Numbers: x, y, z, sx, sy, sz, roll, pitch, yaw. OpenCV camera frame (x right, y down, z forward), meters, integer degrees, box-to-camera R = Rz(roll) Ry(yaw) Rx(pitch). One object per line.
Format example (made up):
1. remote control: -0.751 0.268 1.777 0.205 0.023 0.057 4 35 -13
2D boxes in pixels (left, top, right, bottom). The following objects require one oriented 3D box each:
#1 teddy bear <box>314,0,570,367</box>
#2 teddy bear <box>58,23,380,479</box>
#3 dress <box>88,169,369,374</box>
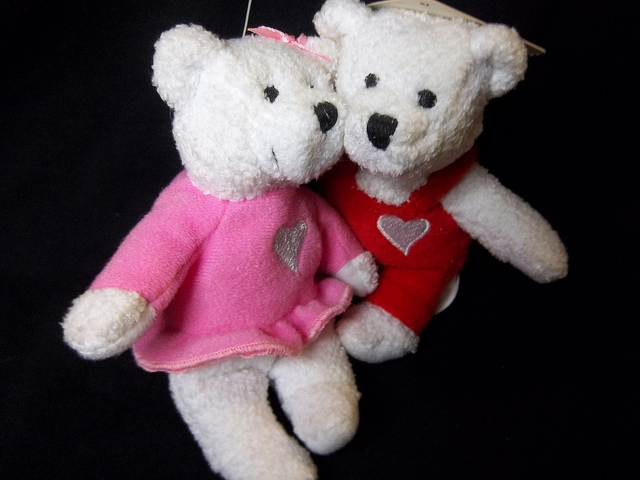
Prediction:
1. teddy bear: 0.223 -0.110 1.466 0.617 0.533 0.387 20 54 21
2. teddy bear: -0.109 0.027 1.393 0.518 0.526 0.793 17 74 7
3. dress: -0.140 0.068 1.364 0.339 0.331 0.199 -12 36 -45
